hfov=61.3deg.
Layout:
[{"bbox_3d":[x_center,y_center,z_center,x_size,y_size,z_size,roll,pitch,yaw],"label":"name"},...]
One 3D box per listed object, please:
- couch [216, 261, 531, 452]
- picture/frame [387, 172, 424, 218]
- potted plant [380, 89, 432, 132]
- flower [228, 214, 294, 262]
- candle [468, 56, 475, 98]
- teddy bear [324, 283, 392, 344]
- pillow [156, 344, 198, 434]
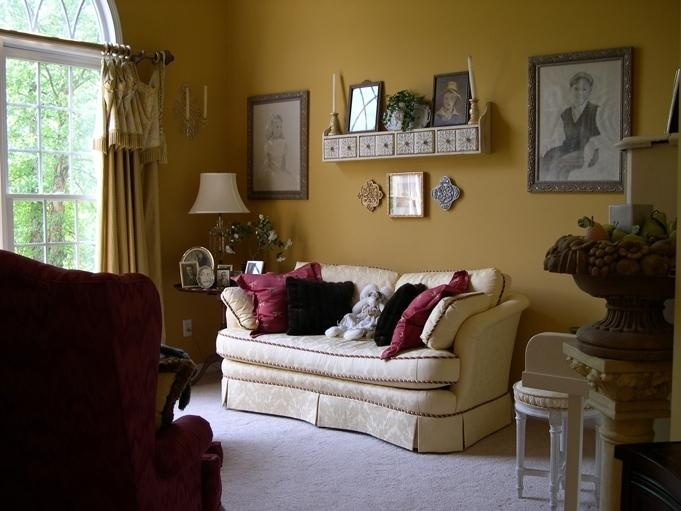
[{"bbox_3d":[0.199,0.662,4.100,2.042,1.099,0.776,3,9,24],"label":"couch"},{"bbox_3d":[0.537,-0.501,4.703,0.326,0.434,0.053,3,6,41],"label":"picture/frame"},{"bbox_3d":[0.505,-1.128,4.541,0.322,0.252,0.314,-1,-2,23],"label":"potted plant"},{"bbox_3d":[-0.776,-0.146,5.393,0.496,0.691,0.473,0,1,-20],"label":"flower"},{"bbox_3d":[0.965,-1.320,4.265,0.060,0.344,0.280,1,8,11],"label":"candle"},{"bbox_3d":[0.157,0.441,4.283,0.498,0.366,0.346,-10,18,-43],"label":"teddy bear"},{"bbox_3d":[-0.637,0.549,2.328,0.232,0.303,0.084,12,-2,35],"label":"pillow"}]
